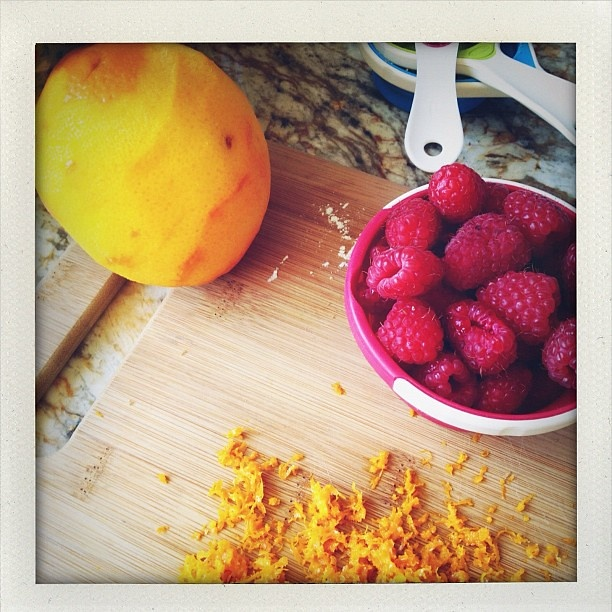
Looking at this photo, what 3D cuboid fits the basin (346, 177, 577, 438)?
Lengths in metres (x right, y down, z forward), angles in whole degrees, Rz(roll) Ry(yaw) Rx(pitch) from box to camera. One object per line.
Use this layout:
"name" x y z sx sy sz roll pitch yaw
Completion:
"basin" 0.158 0.038 0.848 0.304 0.124 0.307 0 82 2

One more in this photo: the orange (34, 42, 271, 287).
"orange" -0.185 -0.165 0.775 0.259 0.220 0.244 -26 54 -17
